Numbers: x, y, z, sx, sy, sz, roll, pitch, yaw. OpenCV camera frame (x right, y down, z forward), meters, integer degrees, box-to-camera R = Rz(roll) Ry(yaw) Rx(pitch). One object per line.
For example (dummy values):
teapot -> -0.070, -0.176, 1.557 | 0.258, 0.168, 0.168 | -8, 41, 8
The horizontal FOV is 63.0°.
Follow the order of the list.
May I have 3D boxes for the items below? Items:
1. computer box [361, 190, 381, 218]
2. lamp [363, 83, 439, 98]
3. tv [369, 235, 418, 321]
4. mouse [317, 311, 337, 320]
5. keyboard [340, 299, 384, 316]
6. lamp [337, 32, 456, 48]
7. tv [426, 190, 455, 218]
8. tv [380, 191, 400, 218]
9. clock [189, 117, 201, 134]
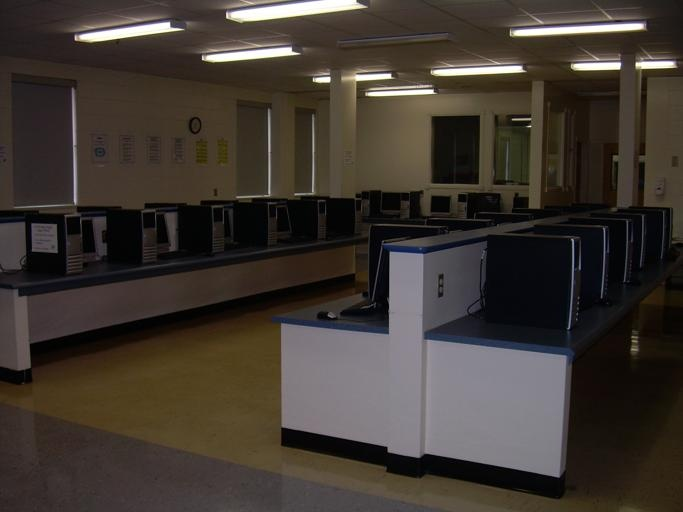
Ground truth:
computer box -> 0.614, -1.079, 11.480 | 0.537, 0.765, 0.457 | -1, 7, 2
lamp -> 1.199, -3.418, 11.430 | 1.630, 0.274, 0.159 | 5, 5, 30
tv -> 0.315, 0.145, 3.340 | 0.163, 0.484, 0.479 | 2, 7, 15
mouse -> -0.091, 0.375, 3.519 | 0.093, 0.041, 0.052 | 1, 3, 13
keyboard -> 0.148, 0.341, 3.590 | 0.295, 0.121, 0.102 | 2, 4, 11
lamp -> 0.642, -2.691, 6.926 | 1.445, 0.123, 0.239 | 4, 9, 21
tv -> 2.224, -1.121, 12.586 | 0.801, 0.781, 0.470 | -1, -2, 13
tv -> 0.969, -1.065, 11.571 | 0.479, 0.455, 0.116 | 7, 11, 35
clock -> -2.785, -2.474, 10.545 | 0.060, 0.349, 0.322 | 4, 9, 26
